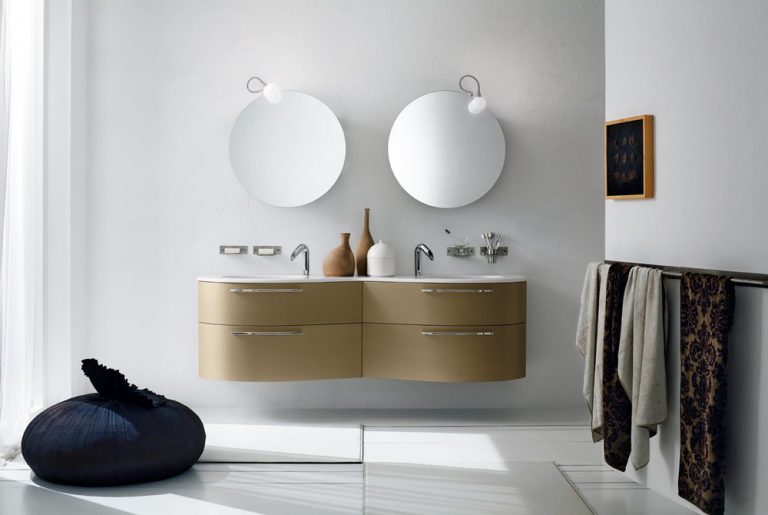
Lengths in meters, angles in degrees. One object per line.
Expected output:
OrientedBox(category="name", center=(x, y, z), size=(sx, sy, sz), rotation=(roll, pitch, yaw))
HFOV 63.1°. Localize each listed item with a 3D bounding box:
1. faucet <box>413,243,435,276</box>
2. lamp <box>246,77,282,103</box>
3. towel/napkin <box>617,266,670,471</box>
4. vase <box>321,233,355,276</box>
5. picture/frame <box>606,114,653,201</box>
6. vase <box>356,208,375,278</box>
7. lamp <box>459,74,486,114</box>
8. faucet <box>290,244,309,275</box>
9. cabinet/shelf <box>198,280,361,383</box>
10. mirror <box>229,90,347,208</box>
OrientedBox(category="faucet", center=(0.299, 0.016, 4.676), size=(0.162, 0.245, 0.316), rotation=(1, 8, 4))
OrientedBox(category="lamp", center=(-0.917, -1.267, 4.723), size=(0.283, 0.198, 0.146), rotation=(1, 8, 5))
OrientedBox(category="towel/napkin", center=(1.405, 0.596, 3.412), size=(0.283, 1.062, 0.256), rotation=(6, 10, 37))
OrientedBox(category="vase", center=(-0.325, -0.013, 4.553), size=(0.241, 0.310, 0.207), rotation=(-1, 8, -7))
OrientedBox(category="picture/frame", center=(1.445, -0.582, 3.659), size=(0.100, 0.465, 0.330), rotation=(-3, 8, -21))
OrientedBox(category="vase", center=(-0.144, -0.121, 4.705), size=(0.132, 0.488, 0.263), rotation=(1, 8, 7))
OrientedBox(category="lamp", center=(0.679, -1.237, 4.798), size=(0.191, 0.364, 0.154), rotation=(4, -23, -3))
OrientedBox(category="faucet", center=(-0.623, 0.020, 4.646), size=(0.154, 0.239, 0.294), rotation=(-1, 8, -9))
OrientedBox(category="cabinet/shelf", center=(-0.784, 0.444, 4.641), size=(1.167, 0.785, 0.769), rotation=(1, 12, 1))
OrientedBox(category="mirror", center=(-0.734, -0.824, 4.763), size=(0.862, 0.859, 0.146), rotation=(1, 8, 3))
